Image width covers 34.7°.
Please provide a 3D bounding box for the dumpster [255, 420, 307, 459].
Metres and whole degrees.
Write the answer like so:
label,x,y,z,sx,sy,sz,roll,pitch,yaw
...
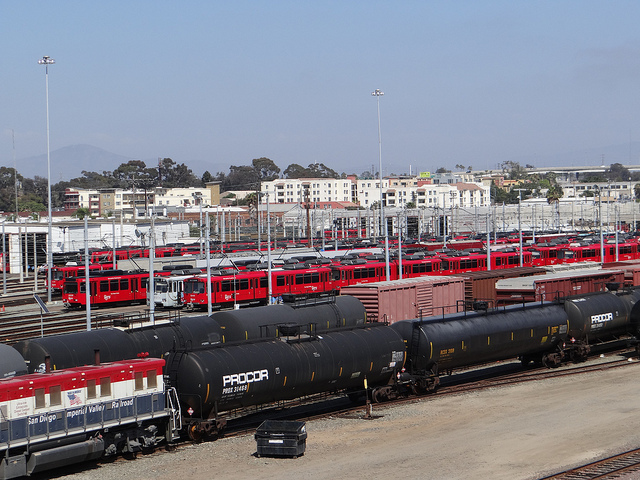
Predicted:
label,x,y,z,sx,sy,sz,roll,pitch,yaw
dumpster,-1.738,8.799,45.822,2.025,1.360,1.450,-2,0,13
